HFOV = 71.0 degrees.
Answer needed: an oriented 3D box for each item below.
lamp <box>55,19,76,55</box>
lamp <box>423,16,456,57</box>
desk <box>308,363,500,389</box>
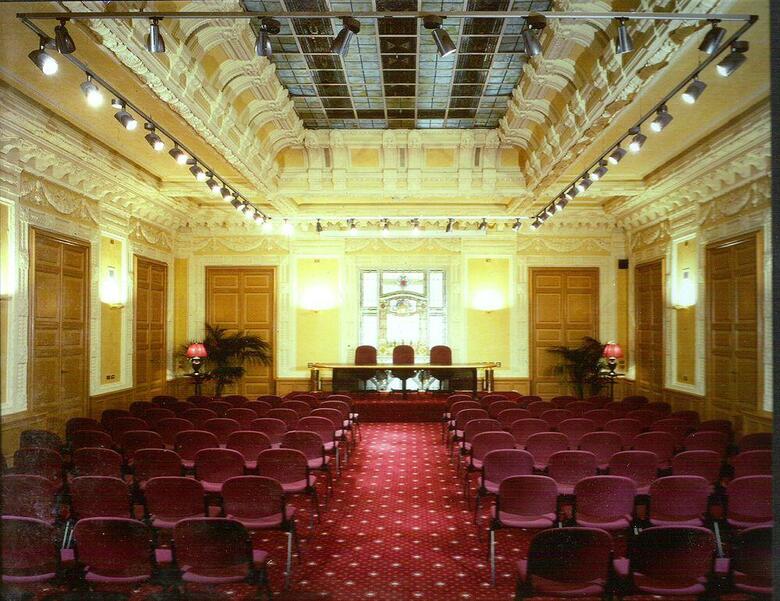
[{"bbox_3d":[-3.225,-2.645,5.423,0.159,0.353,0.309,1,0,-28],"label":"lamp"},{"bbox_3d":[0.470,-2.512,5.168,0.250,0.384,0.449,1,0,8],"label":"lamp"},{"bbox_3d":[0.338,1.817,12.958,4.306,0.706,1.364,0,0,-1],"label":"desk"}]
